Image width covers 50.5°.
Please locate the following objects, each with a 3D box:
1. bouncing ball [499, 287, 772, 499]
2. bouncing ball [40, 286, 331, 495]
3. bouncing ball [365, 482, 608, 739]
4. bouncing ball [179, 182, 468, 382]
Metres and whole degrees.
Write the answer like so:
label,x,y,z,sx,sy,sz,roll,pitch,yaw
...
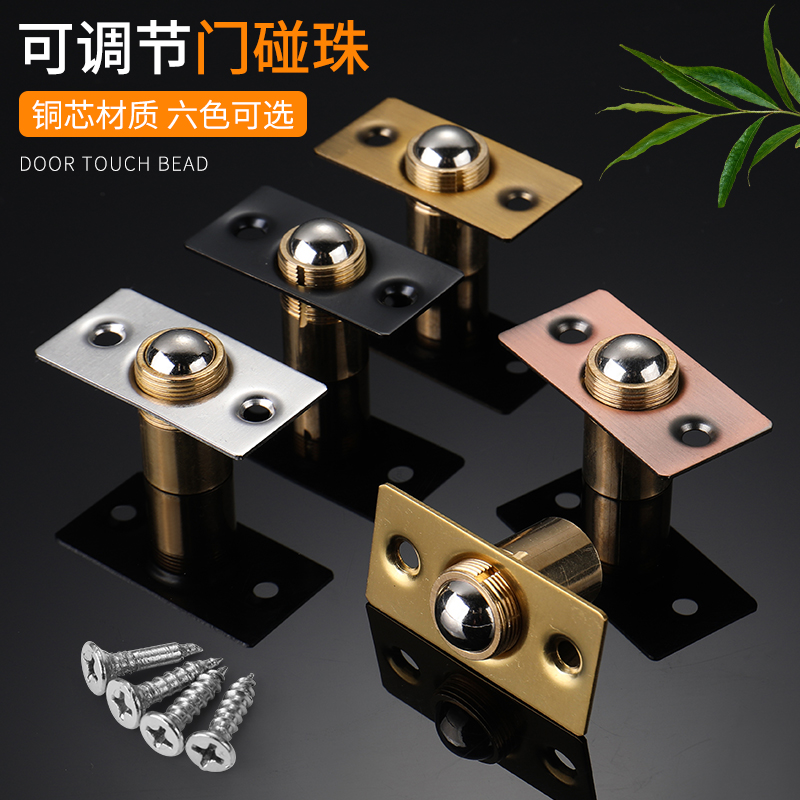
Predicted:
label,x,y,z,sx,sy,sz,roll,pitch,yaw
bouncing ball,0.410,-0.049,1.510,0.283,0.133,0.487,-14,30,-25
bouncing ball,-0.380,-0.004,1.518,0.481,0.234,0.219,27,50,27
bouncing ball,0.151,0.276,1.181,0.232,0.181,0.413,-9,23,-39
bouncing ball,-0.104,-0.244,1.832,0.562,0.321,0.526,-5,26,2
